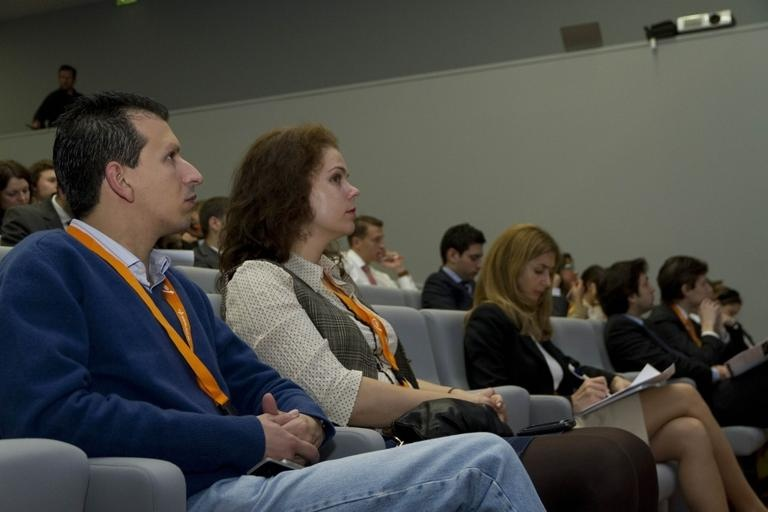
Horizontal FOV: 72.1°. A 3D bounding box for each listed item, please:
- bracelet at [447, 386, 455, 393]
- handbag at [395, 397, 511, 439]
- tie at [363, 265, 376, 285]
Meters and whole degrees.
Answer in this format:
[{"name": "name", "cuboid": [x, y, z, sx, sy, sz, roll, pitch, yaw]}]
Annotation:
[{"name": "bracelet", "cuboid": [0.250, 0.500, 1.978, 0.029, 0.016, 0.040, -1, 0, -20]}, {"name": "handbag", "cuboid": [0.188, 0.459, 1.499, 0.214, 0.068, 0.166, 12, -21, -36]}, {"name": "tie", "cuboid": [-0.168, 0.199, 5.564, 0.028, 0.048, 0.195, 3, -29, 29]}]
